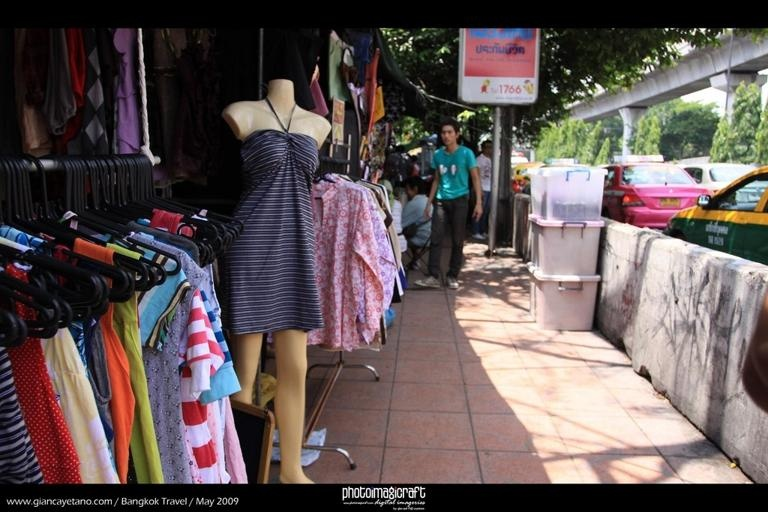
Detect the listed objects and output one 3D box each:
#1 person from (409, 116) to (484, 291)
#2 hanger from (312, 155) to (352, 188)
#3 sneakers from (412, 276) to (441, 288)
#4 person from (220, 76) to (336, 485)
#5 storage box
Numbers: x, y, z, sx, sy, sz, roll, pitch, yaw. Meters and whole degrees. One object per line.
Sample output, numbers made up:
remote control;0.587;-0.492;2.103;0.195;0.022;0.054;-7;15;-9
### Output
person;0.912;-0.748;8.183;0.983;2.416;0.667;-1;7;-7
hanger;-0.444;-0.693;4.530;0.032;0.235;0.701;8;14;18
sneakers;0.636;0.404;8.431;0.435;0.190;0.174;3;-4;0
person;-0.631;0.177;3.202;0.532;2.361;0.683;-2;11;-8
storage box;2.022;-0.080;6.209;0.809;1.823;0.519;4;12;18
